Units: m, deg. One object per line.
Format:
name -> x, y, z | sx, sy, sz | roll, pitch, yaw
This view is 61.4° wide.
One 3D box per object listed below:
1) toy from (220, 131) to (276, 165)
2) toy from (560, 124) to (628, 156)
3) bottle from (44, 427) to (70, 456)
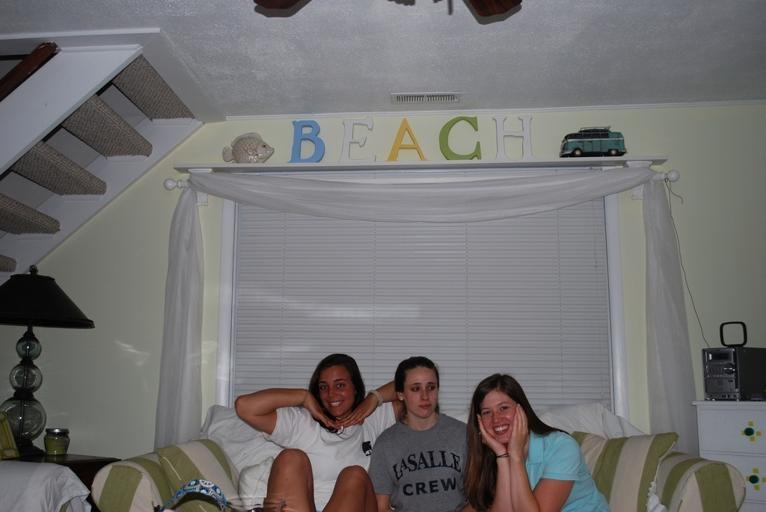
toy -> -0.982, -0.794, 4.791 | 0.290, 0.186, 0.059 | -3, -22, 3
toy -> 1.451, -0.816, 4.533 | 0.491, 0.227, 0.184 | 1, 0, 6
bottle -> -2.116, 1.226, 4.243 | 0.192, 0.169, 0.185 | 1, -17, -7
